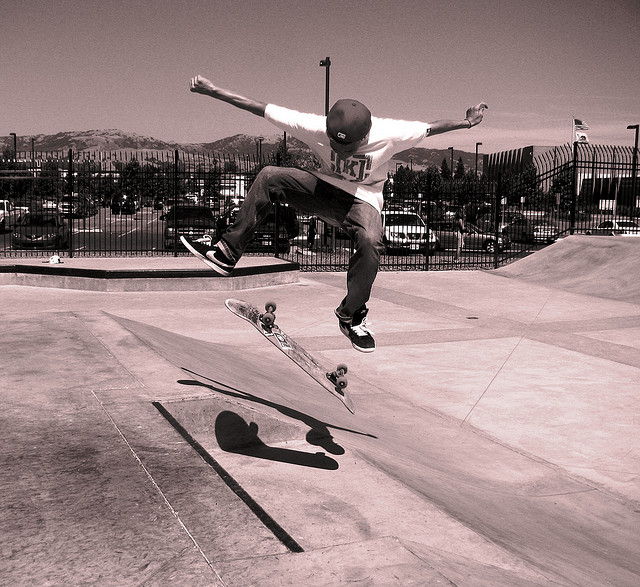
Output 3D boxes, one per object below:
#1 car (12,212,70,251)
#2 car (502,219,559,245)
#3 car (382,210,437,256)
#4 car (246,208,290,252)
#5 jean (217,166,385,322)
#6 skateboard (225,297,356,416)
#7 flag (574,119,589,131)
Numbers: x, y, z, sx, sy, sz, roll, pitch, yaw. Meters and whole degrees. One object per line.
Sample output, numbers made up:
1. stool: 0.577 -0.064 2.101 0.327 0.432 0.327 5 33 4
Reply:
1. car: -9.257 -2.055 19.582 1.693 1.203 1.704 -1 9 -15
2. car: 8.725 -2.442 24.586 1.438 1.034 3.171 -3 15 -12
3. car: 3.023 -2.365 22.095 1.843 1.585 3.393 1 13 -12
4. car: -1.450 -1.675 17.582 1.411 1.071 2.373 0 26 -8
5. jean: -0.105 -0.458 4.719 1.282 0.910 0.734 25 15 2
6. skateboard: -0.298 0.653 6.033 1.247 0.177 0.299 43 20 18
7. flag: 7.910 -5.104 18.019 0.338 0.393 0.854 4 10 20
